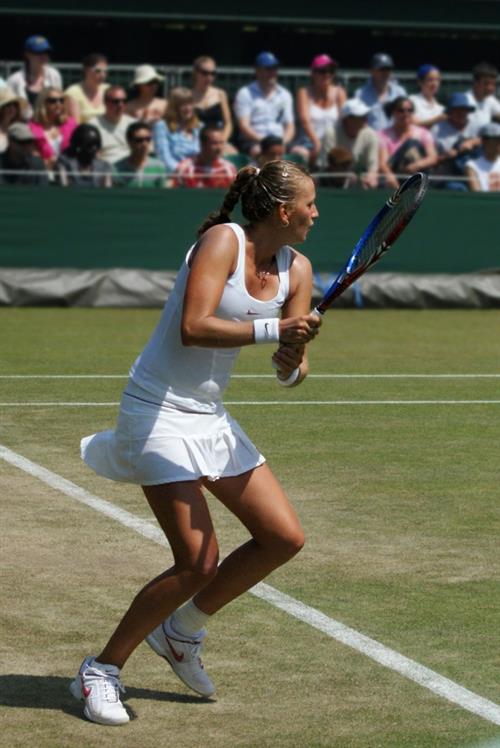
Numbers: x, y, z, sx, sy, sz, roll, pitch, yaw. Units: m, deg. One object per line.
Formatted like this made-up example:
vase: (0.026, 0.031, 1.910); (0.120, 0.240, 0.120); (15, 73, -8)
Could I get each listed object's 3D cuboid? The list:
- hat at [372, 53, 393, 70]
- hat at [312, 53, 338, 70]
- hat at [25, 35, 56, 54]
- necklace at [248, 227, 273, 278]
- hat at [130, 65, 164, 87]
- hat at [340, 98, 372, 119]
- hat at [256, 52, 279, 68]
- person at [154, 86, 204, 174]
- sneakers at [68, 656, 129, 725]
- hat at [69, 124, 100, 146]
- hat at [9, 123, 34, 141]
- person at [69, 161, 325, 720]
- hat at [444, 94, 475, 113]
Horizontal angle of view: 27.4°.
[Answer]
hat: (1.781, -4.221, 13.867); (0.245, 0.171, 0.321); (-2, 10, -10)
hat: (0.979, -4.049, 13.343); (0.330, 0.187, 0.314); (3, 9, 1)
hat: (-2.654, -4.094, 12.830); (0.273, 0.181, 0.365); (-13, 19, -25)
necklace: (0.026, -0.332, 2.817); (0.093, 0.129, 0.104); (5, 5, 1)
hat: (-1.314, -3.778, 13.084); (0.355, 0.155, 0.334); (-14, 4, 2)
hat: (1.364, -3.467, 13.353); (0.252, 0.170, 0.328); (-12, 15, -35)
hat: (0.205, -4.111, 13.483); (0.301, 0.188, 0.377); (-5, 11, -22)
person: (-0.934, -3.086, 13.088); (0.552, 1.021, 0.420); (6, 12, 15)
sneakers: (-0.383, 0.827, 2.686); (0.087, 0.089, 0.202); (11, 9, -40)
hat: (-2.001, -2.929, 12.585); (0.394, 0.259, 0.347); (0, 10, -17)
hat: (-2.794, -2.940, 12.485); (0.315, 0.247, 0.187); (1, 11, -12)
person: (-0.119, 0.147, 2.801); (0.762, 1.456, 0.524); (-1, 12, -22)
hat: (2.892, -3.736, 14.143); (0.337, 0.149, 0.301); (9, -6, -29)
